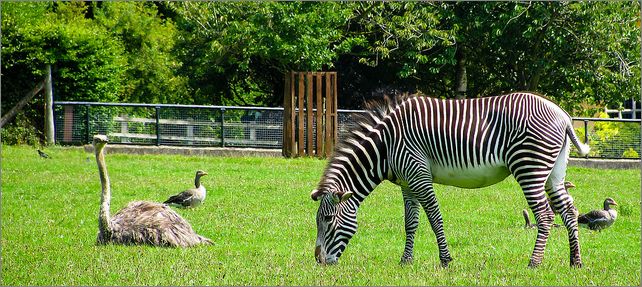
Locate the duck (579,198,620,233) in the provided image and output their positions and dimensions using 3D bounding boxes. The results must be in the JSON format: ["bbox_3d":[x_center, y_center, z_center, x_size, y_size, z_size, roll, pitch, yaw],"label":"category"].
[{"bbox_3d":[15.453,4.009,47.750,2.569,1.906,1.392,-4,-10,24],"label":"duck"}]
